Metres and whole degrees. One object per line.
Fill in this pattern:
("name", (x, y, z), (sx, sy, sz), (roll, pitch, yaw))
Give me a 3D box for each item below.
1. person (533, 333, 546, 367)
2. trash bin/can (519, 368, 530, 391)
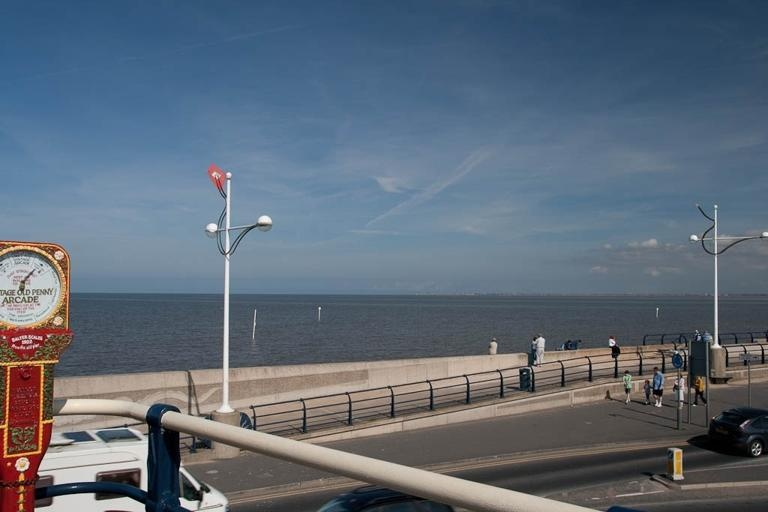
("person", (8.075, 4.879, 42.630), (0.491, 1.563, 1.156), (-2, -5, 4))
("trash bin/can", (6.218, 5.395, 35.871), (0.430, 0.953, 0.445), (-2, -5, 1))
